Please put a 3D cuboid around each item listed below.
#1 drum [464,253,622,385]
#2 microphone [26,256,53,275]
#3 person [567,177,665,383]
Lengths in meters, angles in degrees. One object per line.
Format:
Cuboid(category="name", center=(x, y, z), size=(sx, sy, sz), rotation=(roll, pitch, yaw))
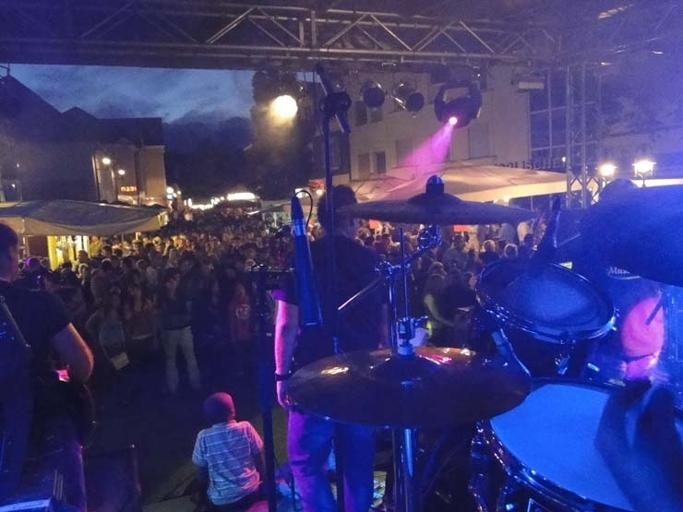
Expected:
Cuboid(category="drum", center=(1.635, 0.404, 5.030), size=(0.809, 0.551, 0.943), rotation=(11, 32, -14))
Cuboid(category="microphone", center=(-4.813, 0.152, 9.729), size=(0.207, 0.225, 0.735), rotation=(-8, 11, -23))
Cuboid(category="person", center=(2.329, 0.370, 5.063), size=(0.624, 1.954, 0.656), rotation=(-4, 11, -3))
